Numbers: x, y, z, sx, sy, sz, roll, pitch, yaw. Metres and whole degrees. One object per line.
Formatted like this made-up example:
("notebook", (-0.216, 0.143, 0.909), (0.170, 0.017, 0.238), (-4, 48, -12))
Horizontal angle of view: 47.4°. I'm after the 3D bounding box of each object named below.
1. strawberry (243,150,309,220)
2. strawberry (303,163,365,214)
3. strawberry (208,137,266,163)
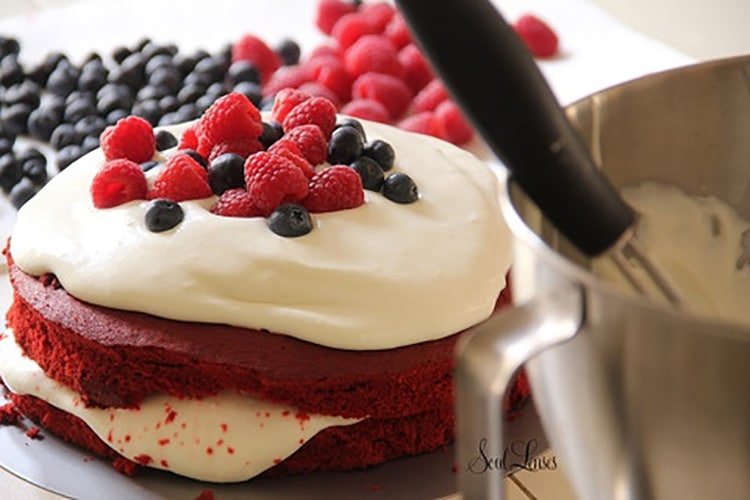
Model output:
("strawberry", (-0.234, -0.162, 1.951), (0.148, 0.116, 0.066), (1, -18, -40))
("strawberry", (-0.098, -0.140, 2.006), (0.129, 0.094, 0.060), (-20, -17, -14))
("strawberry", (-0.339, -0.254, 2.100), (0.085, 0.041, 0.072), (5, 28, 24))
